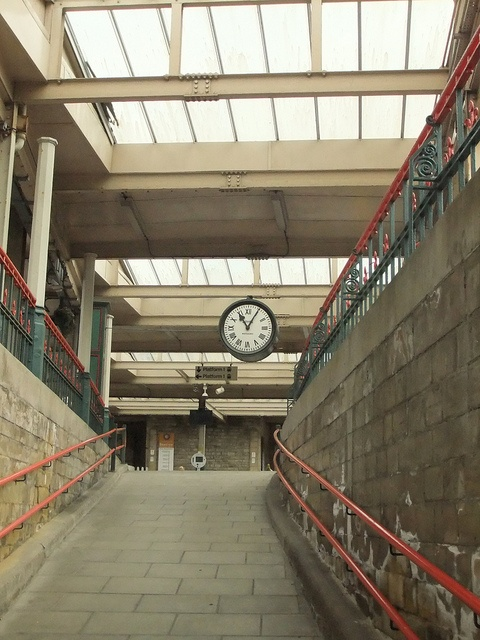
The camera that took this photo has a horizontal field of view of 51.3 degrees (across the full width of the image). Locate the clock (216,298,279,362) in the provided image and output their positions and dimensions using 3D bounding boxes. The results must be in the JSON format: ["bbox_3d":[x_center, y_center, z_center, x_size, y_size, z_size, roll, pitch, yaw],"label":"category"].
[{"bbox_3d":[0.127,0.217,10.267,1.128,1.522,0.468,1,-36,1],"label":"clock"}]
